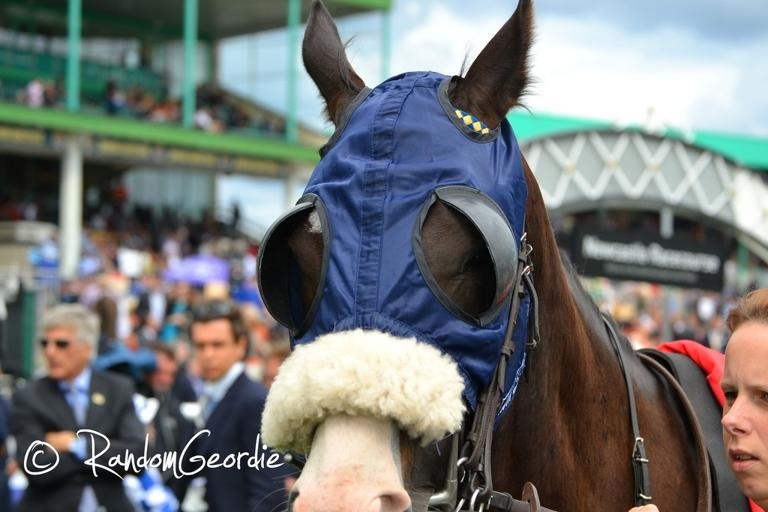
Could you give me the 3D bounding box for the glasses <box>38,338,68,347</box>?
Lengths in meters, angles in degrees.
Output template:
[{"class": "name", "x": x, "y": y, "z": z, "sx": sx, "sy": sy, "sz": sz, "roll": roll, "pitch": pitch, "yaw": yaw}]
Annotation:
[{"class": "glasses", "x": -2.867, "y": 0.755, "z": 15.523, "sx": 0.278, "sy": 0.098, "sz": 0.113, "roll": 1, "pitch": -6, "yaw": 32}]
